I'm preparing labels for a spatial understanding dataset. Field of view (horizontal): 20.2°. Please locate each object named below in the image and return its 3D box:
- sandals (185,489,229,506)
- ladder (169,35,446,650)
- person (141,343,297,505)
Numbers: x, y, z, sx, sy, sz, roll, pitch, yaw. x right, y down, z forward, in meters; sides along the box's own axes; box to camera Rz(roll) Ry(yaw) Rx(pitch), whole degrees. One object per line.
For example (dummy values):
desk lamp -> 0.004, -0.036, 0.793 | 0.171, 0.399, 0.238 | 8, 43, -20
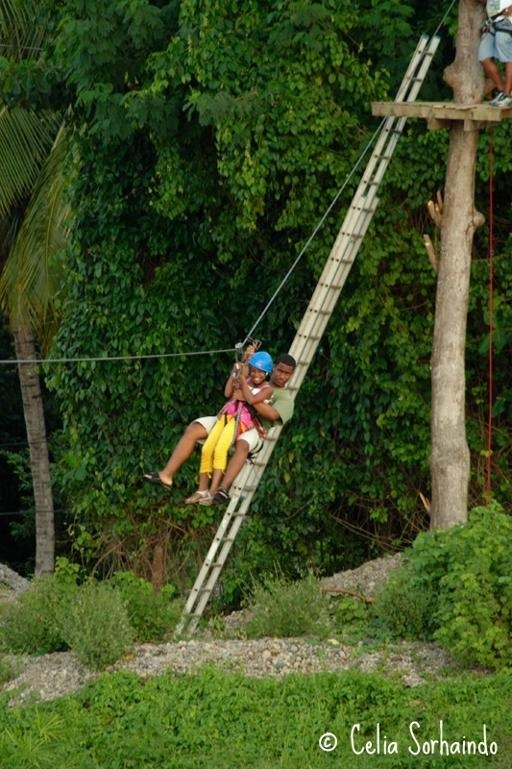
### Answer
sandals -> -0.409, 0.937, 12.191 | 0.283, 0.169, 0.100 | 2, 82, -3
ladder -> 0.583, -0.518, 14.224 | 0.457, 0.176, 6.723 | 28, 68, -15
person -> -0.381, 0.392, 14.057 | 0.873, 1.248, 1.561 | 38, 110, 20
